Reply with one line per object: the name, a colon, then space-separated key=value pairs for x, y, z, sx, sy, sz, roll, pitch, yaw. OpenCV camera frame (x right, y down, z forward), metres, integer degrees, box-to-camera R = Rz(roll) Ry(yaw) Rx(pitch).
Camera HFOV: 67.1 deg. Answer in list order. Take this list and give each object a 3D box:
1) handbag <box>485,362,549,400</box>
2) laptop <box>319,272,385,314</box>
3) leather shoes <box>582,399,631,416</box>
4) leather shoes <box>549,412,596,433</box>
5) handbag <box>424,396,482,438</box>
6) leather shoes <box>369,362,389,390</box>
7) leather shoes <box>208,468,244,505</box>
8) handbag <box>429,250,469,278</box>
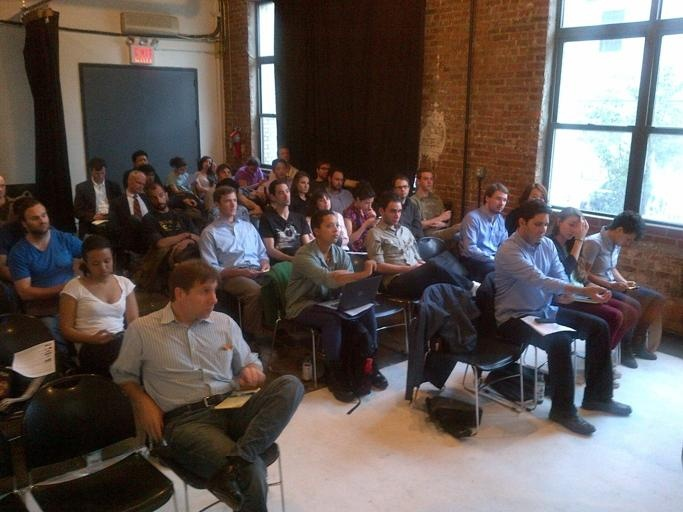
handbag: x=1.386 y=0.980 z=4.107 sx=0.269 sy=0.130 sz=0.341 roll=-3 pitch=4 yaw=-42
laptop: x=0.090 y=0.266 z=4.082 sx=0.396 sy=0.319 sz=0.258 roll=-8 pitch=27 yaw=-37
leather shoes: x=2.030 y=1.161 z=4.006 sx=0.359 sy=0.150 sz=0.126 roll=0 pitch=4 yaw=21
leather shoes: x=1.691 y=1.218 z=3.784 sx=0.280 sy=0.116 sz=0.114 roll=11 pitch=14 yaw=40
handbag: x=0.801 y=1.184 z=3.807 sx=0.200 sy=0.117 sz=0.296 roll=-5 pitch=11 yaw=-25
leather shoes: x=0.297 y=1.024 z=4.276 sx=0.102 sy=0.119 sz=0.280 roll=-5 pitch=3 yaw=-22
leather shoes: x=-0.539 y=1.113 z=2.468 sx=0.159 sy=0.150 sz=0.112 roll=12 pitch=18 yaw=33
handbag: x=0.998 y=0.072 z=4.809 sx=0.283 sy=0.087 sz=0.297 roll=39 pitch=26 yaw=28
